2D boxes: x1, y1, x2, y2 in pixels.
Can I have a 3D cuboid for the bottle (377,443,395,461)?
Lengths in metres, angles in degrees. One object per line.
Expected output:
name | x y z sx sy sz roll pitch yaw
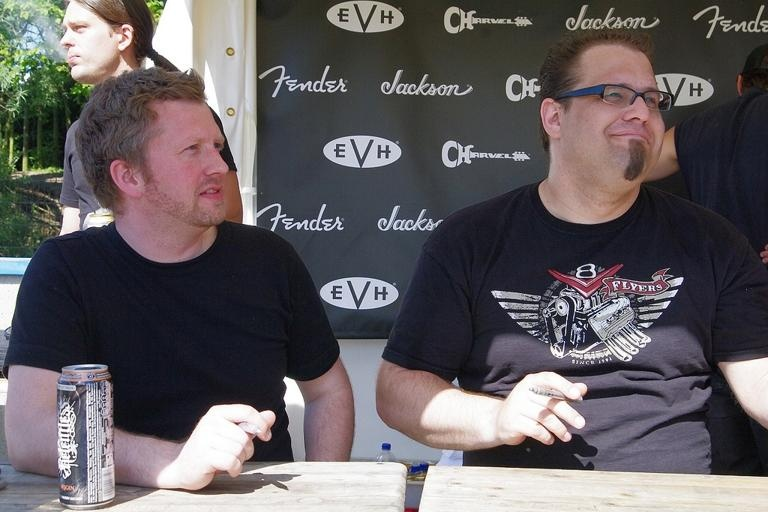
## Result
bottle | 0.010 1.028 4.025 0.105 0.135 0.097 1 -3 0
